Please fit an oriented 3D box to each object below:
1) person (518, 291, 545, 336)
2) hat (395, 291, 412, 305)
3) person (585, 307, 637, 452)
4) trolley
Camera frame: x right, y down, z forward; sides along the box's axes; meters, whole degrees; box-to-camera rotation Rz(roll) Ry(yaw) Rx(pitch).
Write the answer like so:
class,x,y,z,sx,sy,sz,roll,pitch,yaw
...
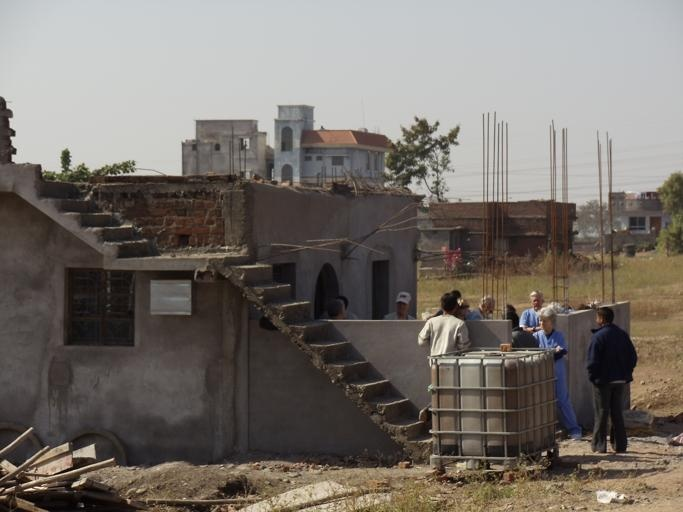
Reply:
class,x,y,z,sx,sy,sz,roll,pitch,yaw
person,3.845,1.161,35.801,0.652,1.123,0.594,0,-9,19
hat,1.162,0.807,34.303,0.291,0.174,0.463,3,-1,8
person,4.782,2.164,31.236,0.823,2.565,0.458,-2,-5,8
trolley,2.576,2.588,30.368,1.626,1.875,2.118,-1,0,30
